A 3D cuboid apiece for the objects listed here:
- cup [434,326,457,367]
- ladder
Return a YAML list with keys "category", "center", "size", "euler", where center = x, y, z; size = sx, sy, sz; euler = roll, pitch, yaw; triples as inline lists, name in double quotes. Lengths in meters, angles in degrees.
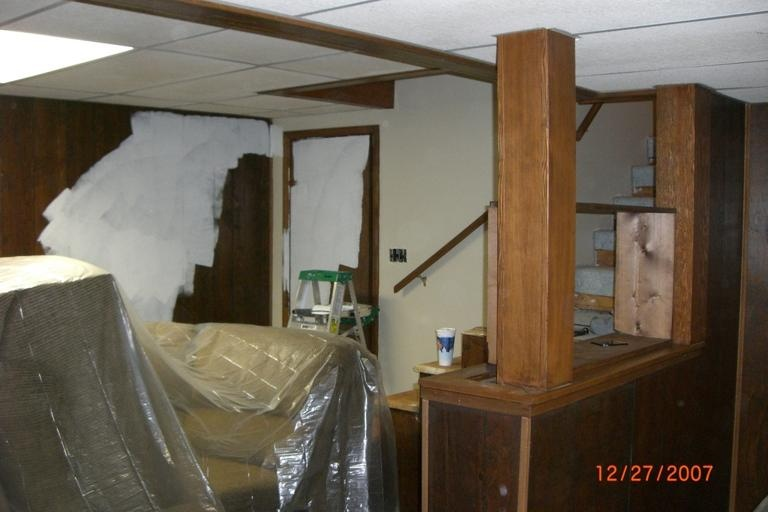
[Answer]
- category: "cup"
  center: [0.393, 0.588, 4.421]
  size: [0.107, 0.188, 0.233]
  euler: [2, 0, 8]
- category: "ladder"
  center: [-0.475, 0.542, 5.889]
  size: [0.508, 0.780, 0.807]
  euler: [2, 2, 39]
